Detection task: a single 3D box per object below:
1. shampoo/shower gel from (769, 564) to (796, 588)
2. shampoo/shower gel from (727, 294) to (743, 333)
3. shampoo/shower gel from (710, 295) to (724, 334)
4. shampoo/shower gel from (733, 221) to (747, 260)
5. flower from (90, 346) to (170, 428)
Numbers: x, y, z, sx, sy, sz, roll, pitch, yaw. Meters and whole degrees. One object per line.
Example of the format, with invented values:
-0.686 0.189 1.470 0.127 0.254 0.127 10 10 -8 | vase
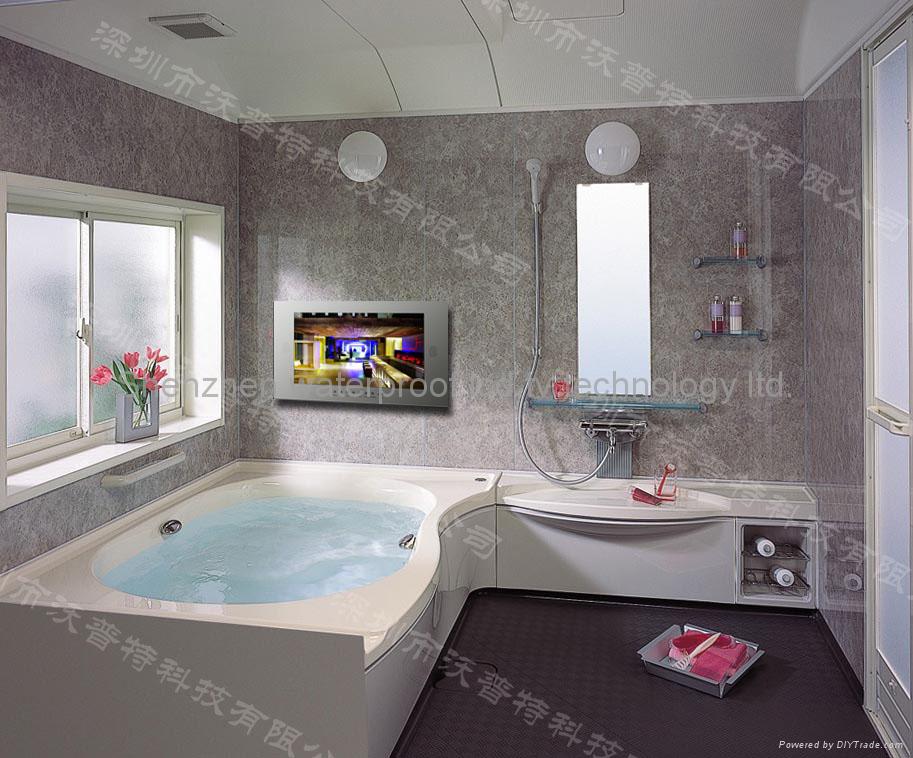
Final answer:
1.725 1.042 3.484 0.062 0.070 0.101 13 5 9 | shampoo/shower gel
1.545 -0.362 3.637 0.080 0.214 0.071 2 8 20 | shampoo/shower gel
1.451 -0.358 3.654 0.080 0.207 0.072 3 8 21 | shampoo/shower gel
1.561 -0.764 3.610 0.073 0.211 0.073 1 8 10 | shampoo/shower gel
-1.755 0.022 3.570 0.377 0.415 0.386 0 6 33 | flower
